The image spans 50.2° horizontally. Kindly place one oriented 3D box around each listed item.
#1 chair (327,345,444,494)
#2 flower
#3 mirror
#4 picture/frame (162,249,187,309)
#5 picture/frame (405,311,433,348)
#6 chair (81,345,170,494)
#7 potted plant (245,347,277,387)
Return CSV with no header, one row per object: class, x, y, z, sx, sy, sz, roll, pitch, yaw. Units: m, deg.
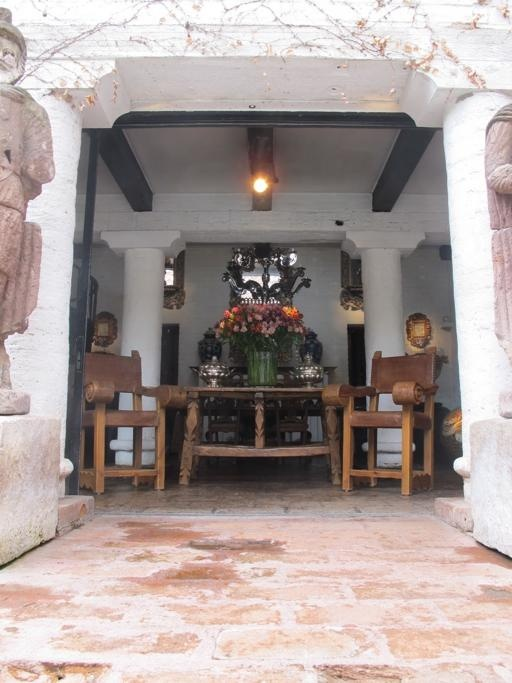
chair,1.053,0.597,4.331,0.733,1.059,1.827,-3,-10,18
flower,-0.040,-0.111,4.999,0.646,0.353,0.676,0,-2,-40
mirror,0.146,-1.154,8.233,0.936,0.663,0.898,-3,6,2
picture/frame,-1.435,-1.191,9.264,0.435,0.655,0.416,-1,4,-27
picture/frame,2.617,-0.184,8.670,0.398,0.508,0.191,3,-11,3
chair,-0.958,0.539,3.886,0.758,0.983,0.728,-7,-11,33
potted plant,0.020,0.224,4.851,0.312,0.318,0.299,3,-4,-25
